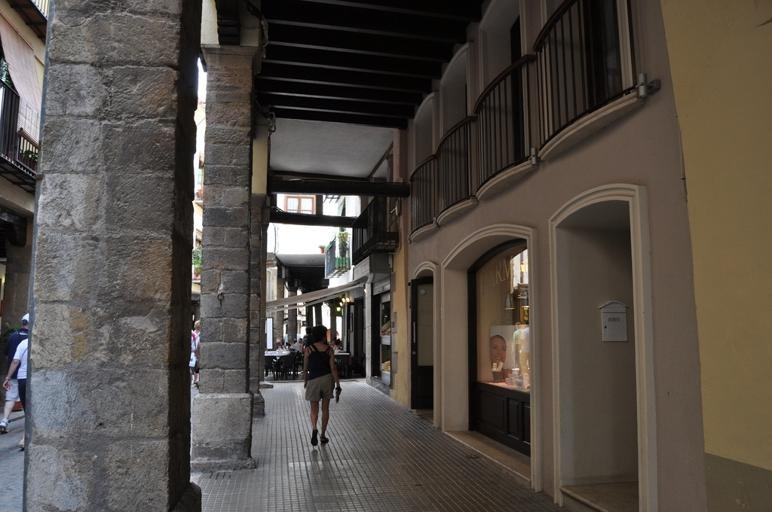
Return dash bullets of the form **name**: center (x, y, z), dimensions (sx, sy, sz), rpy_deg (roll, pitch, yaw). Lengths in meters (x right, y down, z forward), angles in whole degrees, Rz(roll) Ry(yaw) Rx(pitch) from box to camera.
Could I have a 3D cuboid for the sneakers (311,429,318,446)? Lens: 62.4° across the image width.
- **sneakers**: center (-1.067, 2.722, 9.564), dimensions (0.100, 0.250, 0.092), rpy_deg (2, -4, -8)
